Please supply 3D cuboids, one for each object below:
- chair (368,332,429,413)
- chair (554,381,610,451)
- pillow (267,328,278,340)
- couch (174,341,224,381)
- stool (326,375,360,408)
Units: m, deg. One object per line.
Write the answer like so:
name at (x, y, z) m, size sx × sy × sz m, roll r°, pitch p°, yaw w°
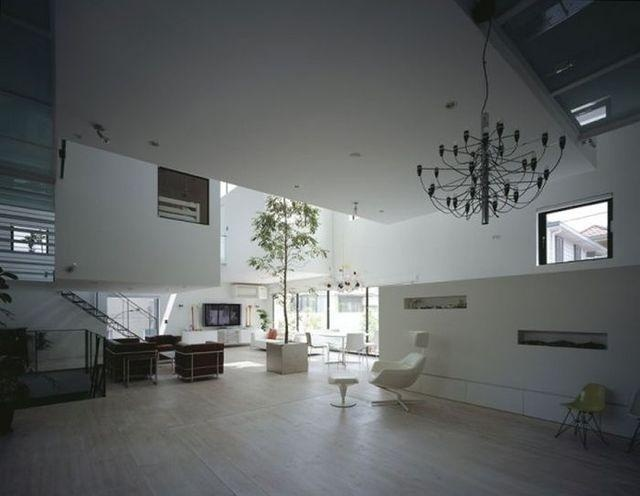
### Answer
chair at (1.499, 2.398, 8.685) m, size 1.089 × 1.494 × 1.088 m, roll -1°, pitch -5°, yaw 13°
chair at (4.017, 2.528, 6.654) m, size 0.533 × 0.819 × 0.505 m, roll 5°, pitch -1°, yaw -28°
pillow at (-1.754, 3.236, 16.267) m, size 0.341 × 0.377 × 0.144 m, roll -4°, pitch -17°, yaw 33°
couch at (-3.032, 2.686, 10.892) m, size 0.981 × 0.944 × 0.913 m, roll 3°, pitch -1°, yaw -32°
stool at (0.445, 2.760, 8.493) m, size 0.532 × 0.658 × 0.559 m, roll -1°, pitch -1°, yaw -32°
